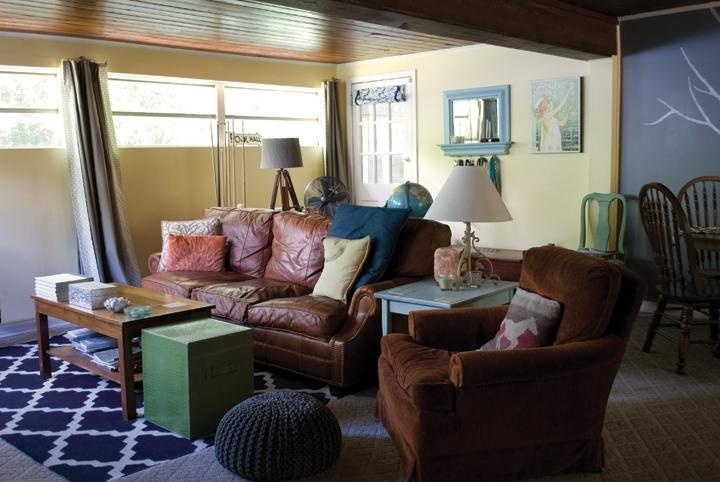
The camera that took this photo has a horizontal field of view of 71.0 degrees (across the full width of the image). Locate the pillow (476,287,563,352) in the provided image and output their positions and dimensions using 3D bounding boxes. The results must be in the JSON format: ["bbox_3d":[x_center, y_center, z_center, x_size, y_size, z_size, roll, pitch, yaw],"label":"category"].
[{"bbox_3d":[0.911,0.456,2.864,0.120,0.352,0.387,31,-11,-21],"label":"pillow"}]

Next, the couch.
[{"bbox_3d":[-0.807,0.394,4.620,2.990,1.101,1.088,5,12,38],"label":"couch"}]

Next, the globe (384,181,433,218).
[{"bbox_3d":[0.492,-0.421,5.084,0.407,0.437,0.425,8,35,13],"label":"globe"}]

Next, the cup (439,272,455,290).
[{"bbox_3d":[0.617,0.293,3.593,0.096,0.072,0.108,2,1,28],"label":"cup"}]

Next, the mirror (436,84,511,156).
[{"bbox_3d":[1.502,-1.578,6.538,1.063,0.945,0.091,2,4,37],"label":"mirror"}]

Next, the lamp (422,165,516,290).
[{"bbox_3d":[0.762,-0.112,3.577,0.592,0.788,0.570,2,8,18],"label":"lamp"}]

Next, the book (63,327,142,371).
[{"bbox_3d":[-1.986,0.816,3.879,0.420,0.091,0.409,9,9,39],"label":"book"}]

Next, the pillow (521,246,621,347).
[{"bbox_3d":[1.166,0.301,3.034,0.384,0.499,0.710,-2,16,-16],"label":"pillow"}]

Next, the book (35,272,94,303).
[{"bbox_3d":[-2.350,0.343,3.922,0.300,0.104,0.245,8,10,43],"label":"book"}]
